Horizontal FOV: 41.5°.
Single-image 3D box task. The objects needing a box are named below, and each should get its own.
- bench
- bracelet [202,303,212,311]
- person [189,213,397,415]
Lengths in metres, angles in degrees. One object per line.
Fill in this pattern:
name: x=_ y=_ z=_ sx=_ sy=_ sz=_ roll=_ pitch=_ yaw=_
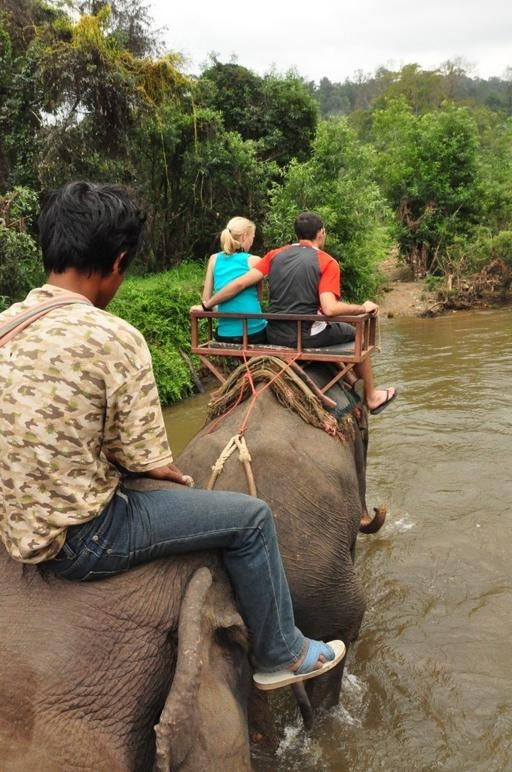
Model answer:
bench: x=0.227 y=-0.295 z=3.780 sx=1.182 sy=0.228 sz=1.154 roll=-4 pitch=8 yaw=-28
bracelet: x=-0.289 y=-0.464 z=3.975 sx=0.040 sy=0.037 sz=0.055 roll=0 pitch=-4 yaw=-3
person: x=0.337 y=-0.511 z=4.010 sx=1.216 sy=1.247 sz=0.913 roll=8 pitch=19 yaw=26
